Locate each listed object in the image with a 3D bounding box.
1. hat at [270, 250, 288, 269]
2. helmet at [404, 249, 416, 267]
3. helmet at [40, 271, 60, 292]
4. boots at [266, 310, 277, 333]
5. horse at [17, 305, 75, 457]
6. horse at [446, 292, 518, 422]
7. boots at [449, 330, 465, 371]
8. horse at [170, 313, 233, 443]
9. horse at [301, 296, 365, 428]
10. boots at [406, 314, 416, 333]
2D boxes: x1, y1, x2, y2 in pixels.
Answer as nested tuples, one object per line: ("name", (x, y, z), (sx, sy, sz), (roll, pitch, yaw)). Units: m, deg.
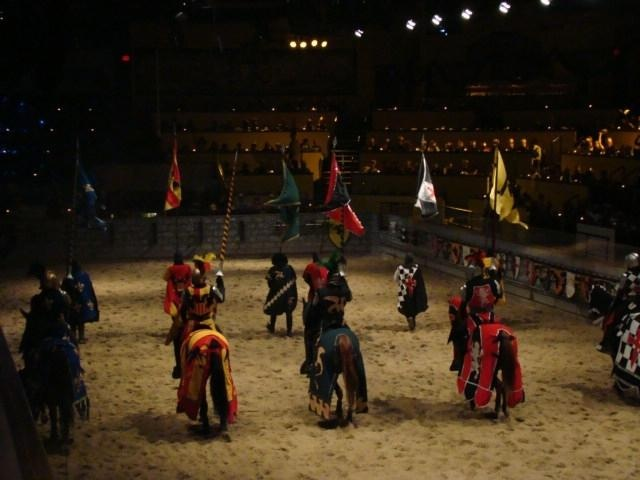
("hat", (-0.940, 0.495, 17.465), (0.339, 0.434, 0.410), (1, 16, 0))
("helmet", (2.513, 0.504, 21.121), (0.394, 0.381, 0.251), (0, 44, 3))
("helmet", (-4.487, 0.676, 12.573), (0.275, 0.313, 0.228), (-5, 13, -22))
("boots", (-1.126, 2.001, 17.859), (0.220, 0.471, 0.443), (4, -13, 2))
("horse", (-4.494, 2.331, 12.557), (0.786, 2.372, 0.618), (-4, 12, -15))
("horse", (2.989, 2.135, 13.671), (1.356, 2.107, 0.629), (3, 13, 18))
("boots", (2.574, 2.039, 14.117), (0.231, 0.784, 0.245), (3, 11, -17))
("horse", (-2.170, 2.366, 13.670), (0.907, 1.971, 2.534), (1, -1, -24))
("horse", (0.224, 1.959, 13.881), (0.846, 2.485, 2.731), (-1, 8, -12))
("boots", (2.188, 2.026, 18.090), (0.171, 0.374, 0.351), (-1, 44, 7))
